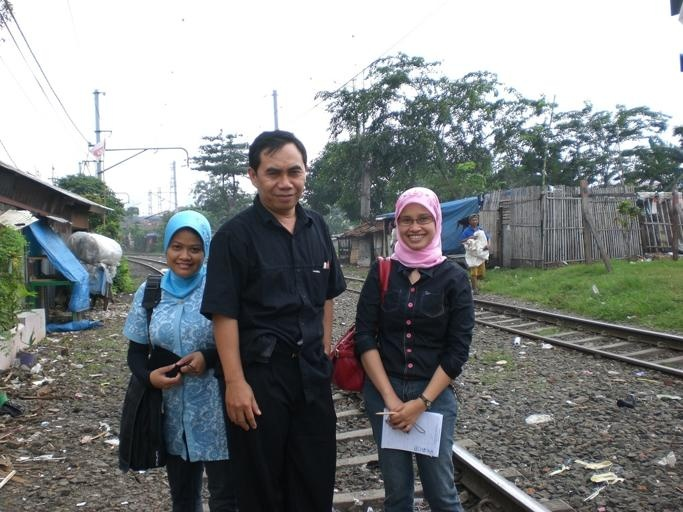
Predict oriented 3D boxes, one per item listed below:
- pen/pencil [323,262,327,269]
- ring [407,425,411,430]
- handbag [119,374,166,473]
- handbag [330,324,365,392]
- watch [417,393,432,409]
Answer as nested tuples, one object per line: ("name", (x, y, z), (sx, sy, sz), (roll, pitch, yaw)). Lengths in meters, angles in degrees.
("pen/pencil", (-0.102, 0.057, 2.959), (0.024, 0.023, 0.031), (-1, 5, 0))
("ring", (0.400, 1.016, 2.951), (0.021, 0.010, 0.030), (-2, -4, 6))
("handbag", (-1.257, 1.045, 3.093), (0.257, 0.553, 0.089), (-2, -1, 0))
("handbag", (0.034, 0.669, 3.392), (0.234, 0.454, 0.451), (-3, 14, -8))
("watch", (0.496, 0.868, 2.966), (0.049, 0.081, 0.074), (-34, 38, -23))
